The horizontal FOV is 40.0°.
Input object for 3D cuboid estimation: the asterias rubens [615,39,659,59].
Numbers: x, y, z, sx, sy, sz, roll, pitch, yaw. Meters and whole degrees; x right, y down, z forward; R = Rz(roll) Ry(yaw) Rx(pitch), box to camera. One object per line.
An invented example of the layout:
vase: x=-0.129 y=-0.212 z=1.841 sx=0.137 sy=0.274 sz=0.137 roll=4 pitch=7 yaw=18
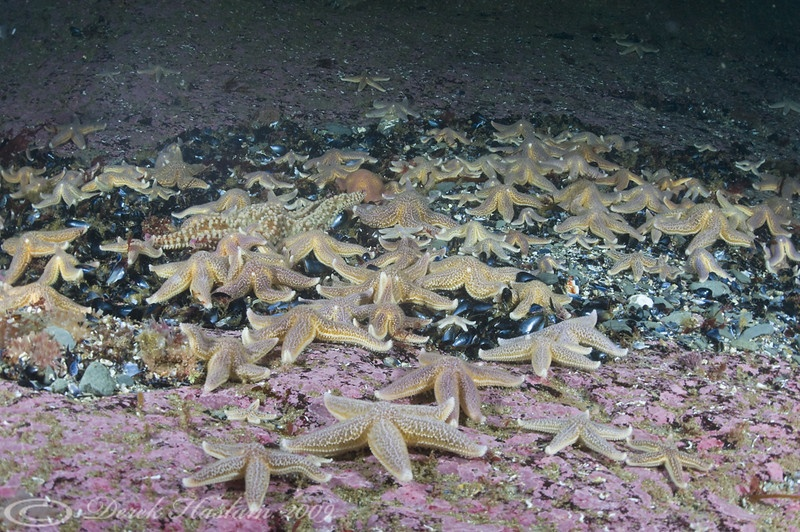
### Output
asterias rubens: x=3.884 y=-3.655 z=18.320 sx=0.461 sy=0.061 sz=0.467 roll=29 pitch=46 yaw=32

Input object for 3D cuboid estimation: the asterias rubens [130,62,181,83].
asterias rubens: x=-3.618 y=-2.881 z=16.380 sx=0.525 sy=0.065 sz=0.331 roll=23 pitch=45 yaw=8
